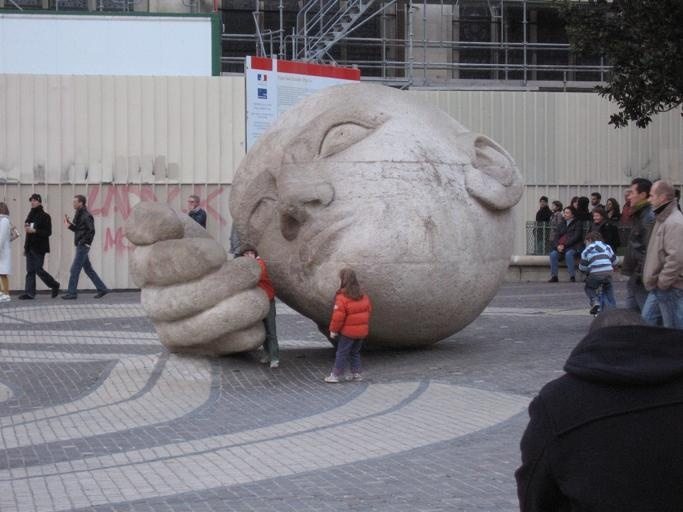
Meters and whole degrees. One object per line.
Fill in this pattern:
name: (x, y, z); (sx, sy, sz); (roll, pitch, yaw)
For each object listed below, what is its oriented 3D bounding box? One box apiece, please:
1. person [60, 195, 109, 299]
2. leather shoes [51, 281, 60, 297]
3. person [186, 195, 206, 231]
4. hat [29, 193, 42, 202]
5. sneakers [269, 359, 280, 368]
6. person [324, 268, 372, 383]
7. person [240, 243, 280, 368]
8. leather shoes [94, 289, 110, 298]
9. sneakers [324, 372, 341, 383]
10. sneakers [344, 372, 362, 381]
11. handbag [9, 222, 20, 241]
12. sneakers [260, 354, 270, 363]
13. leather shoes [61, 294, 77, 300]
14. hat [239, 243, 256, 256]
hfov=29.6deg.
person: (-5.308, -0.123, 26.752); (0.832, 2.196, 1.223); (-2, 13, -6)
leather shoes: (-5.882, 0.694, 26.836); (0.142, 0.347, 0.265); (-6, 13, -19)
person: (-2.986, -0.916, 27.145); (0.321, 0.740, 0.801); (-2, 13, -4)
hat: (-6.398, -1.263, 27.345); (0.245, 0.173, 0.331); (-3, -9, 11)
sneakers: (-0.975, 1.610, 19.291); (0.115, 0.085, 0.109); (1, -5, -13)
person: (0.095, 0.983, 18.448); (0.638, 1.631, 0.330); (-2, 13, -2)
person: (-1.188, 0.762, 19.428); (0.509, 1.764, 0.825); (-2, 13, -4)
leather shoes: (-5.018, 0.774, 27.316); (0.145, 0.199, 0.468); (-2, 8, -25)
sneakers: (-0.118, 1.743, 18.553); (0.201, 0.110, 0.120); (3, 4, 32)
sneakers: (0.147, 1.737, 18.611); (0.108, 0.110, 0.259); (-3, 6, -36)
handbag: (-6.932, -0.515, 27.615); (0.186, 0.371, 0.385); (-29, 5, -15)
sneakers: (-1.136, 1.553, 19.535); (0.149, 0.095, 0.235); (0, 1, -5)
leather shoes: (-5.517, 0.839, 26.479); (0.294, 0.118, 0.109); (6, 8, 4)
hat: (-1.376, -0.073, 19.429); (0.210, 0.148, 0.175); (-10, 33, 19)
